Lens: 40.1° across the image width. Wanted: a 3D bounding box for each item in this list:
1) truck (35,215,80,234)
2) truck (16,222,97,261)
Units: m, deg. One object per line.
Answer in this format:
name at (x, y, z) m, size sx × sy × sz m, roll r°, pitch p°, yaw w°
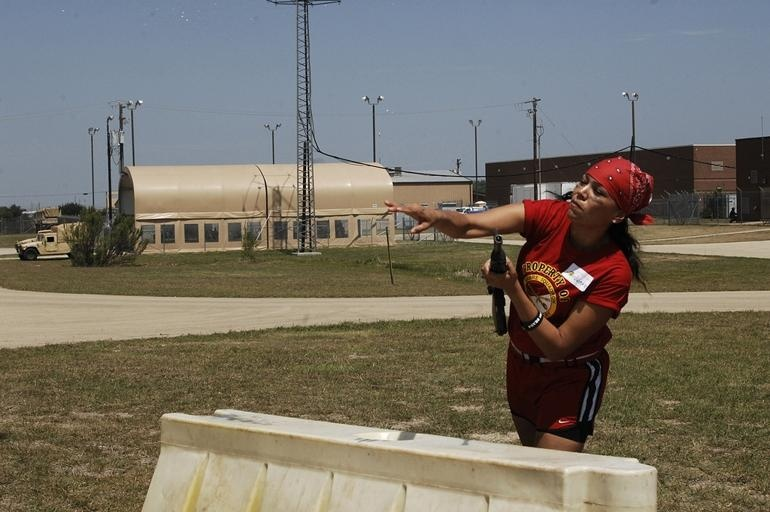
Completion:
truck at (-19.724, -1.888, 63.418) m, size 2.032 × 0.558 × 1.878 m, roll -1°, pitch -2°, yaw -2°
truck at (-16.134, -0.646, 50.238) m, size 2.523 × 2.007 × 10.873 m, roll -2°, pitch 4°, yaw -20°
